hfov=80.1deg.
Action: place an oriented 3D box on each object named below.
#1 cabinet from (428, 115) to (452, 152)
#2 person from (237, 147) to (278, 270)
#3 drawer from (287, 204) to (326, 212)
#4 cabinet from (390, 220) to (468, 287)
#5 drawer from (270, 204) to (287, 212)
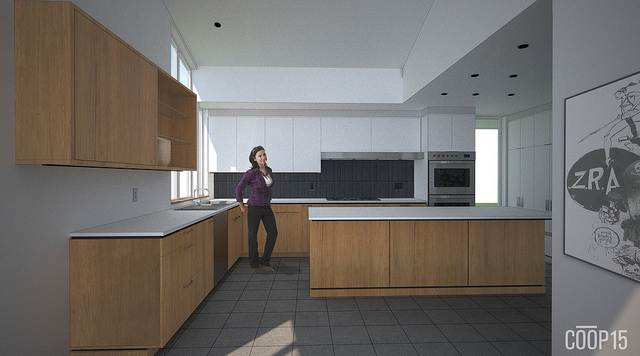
[{"bbox_3d":[2.400,-0.782,7.263,0.348,0.490,0.312,-1,-10,19],"label":"cabinet"},{"bbox_3d":[-1.014,0.476,6.116,0.605,1.501,0.231,-2,1,-21],"label":"person"},{"bbox_3d":[-0.272,0.538,6.949,0.624,0.093,0.106,-1,0,-10],"label":"drawer"},{"bbox_3d":[1.279,1.024,5.389,1.269,0.873,0.653,4,-5,-12],"label":"cabinet"},{"bbox_3d":[-0.731,0.540,6.932,0.269,0.096,0.047,-1,1,3],"label":"drawer"}]
